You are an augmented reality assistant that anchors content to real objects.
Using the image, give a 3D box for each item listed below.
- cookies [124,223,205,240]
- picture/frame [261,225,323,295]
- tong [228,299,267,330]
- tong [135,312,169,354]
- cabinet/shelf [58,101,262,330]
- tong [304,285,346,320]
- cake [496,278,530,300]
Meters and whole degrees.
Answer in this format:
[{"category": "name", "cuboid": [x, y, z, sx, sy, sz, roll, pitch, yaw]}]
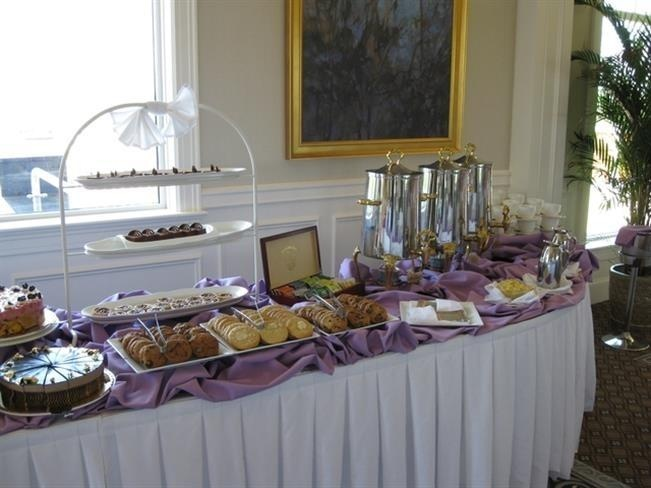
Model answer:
[{"category": "cookies", "cuboid": [-0.583, -0.047, 1.810, 0.282, 0.039, 0.190, -8, 9, -18]}, {"category": "picture/frame", "cuboid": [-0.140, 0.075, 2.068, 0.028, 0.255, 0.295, 4, 15, 44]}, {"category": "tong", "cuboid": [-0.279, 0.235, 1.720, 0.043, 0.082, 0.263, -3, 13, -24]}, {"category": "tong", "cuboid": [-0.537, 0.267, 1.551, 0.053, 0.036, 0.203, -9, 23, -28]}, {"category": "cabinet/shelf", "cuboid": [-0.886, -0.169, 2.477, 1.023, 1.285, 0.305, -10, 22, -28]}, {"category": "tong", "cuboid": [0.007, 0.210, 1.845, 0.056, 0.035, 0.191, -7, 26, -22]}, {"category": "cake", "cuboid": [0.809, 0.188, 2.107, 0.091, 0.030, 0.094, -7, 28, -15]}]
